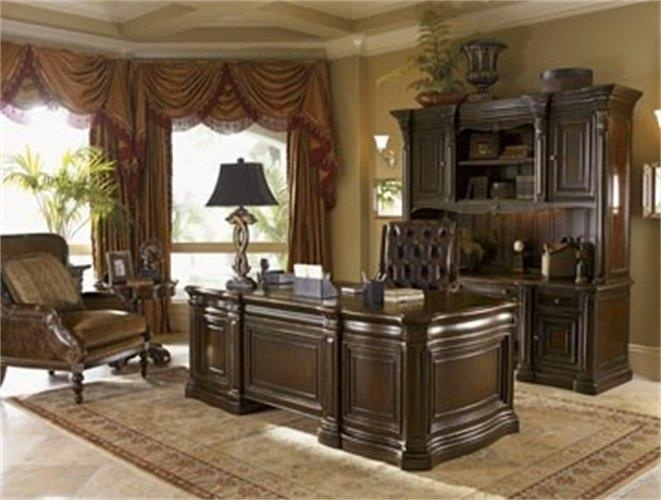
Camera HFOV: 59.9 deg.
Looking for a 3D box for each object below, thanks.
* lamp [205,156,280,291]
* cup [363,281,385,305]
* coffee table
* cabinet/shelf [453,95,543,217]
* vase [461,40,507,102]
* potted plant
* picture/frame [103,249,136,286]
[{"bbox_3d":[-0.782,-0.260,5.045,0.585,1.077,1.048,-1,7,-9],"label":"lamp"},{"bbox_3d":[0.304,0.313,4.202,0.153,0.222,0.159,2,1,0],"label":"cup"},{"bbox_3d":[-2.022,0.791,6.028,0.892,0.880,0.916,-1,-1,27],"label":"coffee table"},{"bbox_3d":[1.682,-0.964,5.757,1.202,1.206,0.406,2,4,44],"label":"cabinet/shelf"},{"bbox_3d":[1.551,-1.848,5.897,0.474,0.588,0.458,1,13,30],"label":"vase"},{"bbox_3d":[1.116,-2.133,6.349,0.732,1.128,0.997,-2,7,-14],"label":"potted plant"},{"bbox_3d":[-2.256,0.190,6.081,0.340,0.446,0.074,-10,-5,-43],"label":"picture/frame"}]
